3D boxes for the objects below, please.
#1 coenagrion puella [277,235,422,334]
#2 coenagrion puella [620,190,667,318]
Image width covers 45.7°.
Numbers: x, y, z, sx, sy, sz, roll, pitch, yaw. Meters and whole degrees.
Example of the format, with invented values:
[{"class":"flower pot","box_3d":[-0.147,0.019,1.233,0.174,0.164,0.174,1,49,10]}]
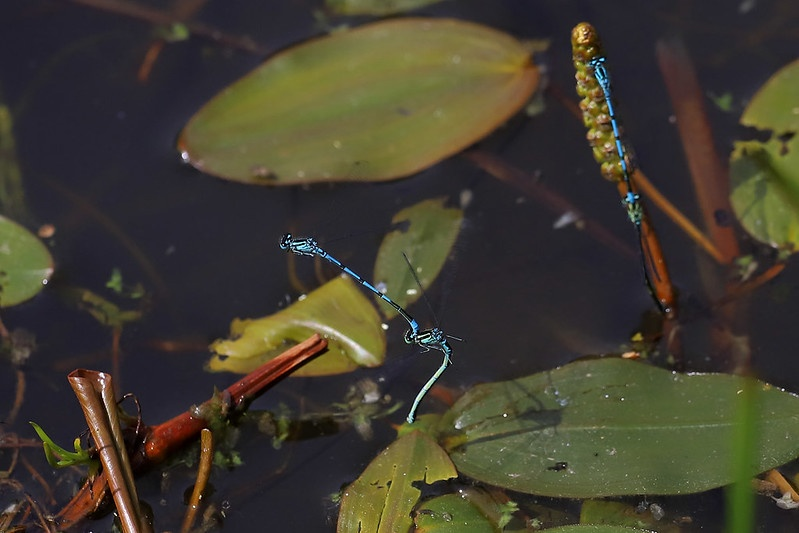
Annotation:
[{"class":"coenagrion puella","box_3d":[-0.157,0.043,2.872,0.546,0.093,0.220,36,-10,19]},{"class":"coenagrion puella","box_3d":[0.739,-0.022,2.887,0.041,0.390,0.097,-11,16,15]}]
